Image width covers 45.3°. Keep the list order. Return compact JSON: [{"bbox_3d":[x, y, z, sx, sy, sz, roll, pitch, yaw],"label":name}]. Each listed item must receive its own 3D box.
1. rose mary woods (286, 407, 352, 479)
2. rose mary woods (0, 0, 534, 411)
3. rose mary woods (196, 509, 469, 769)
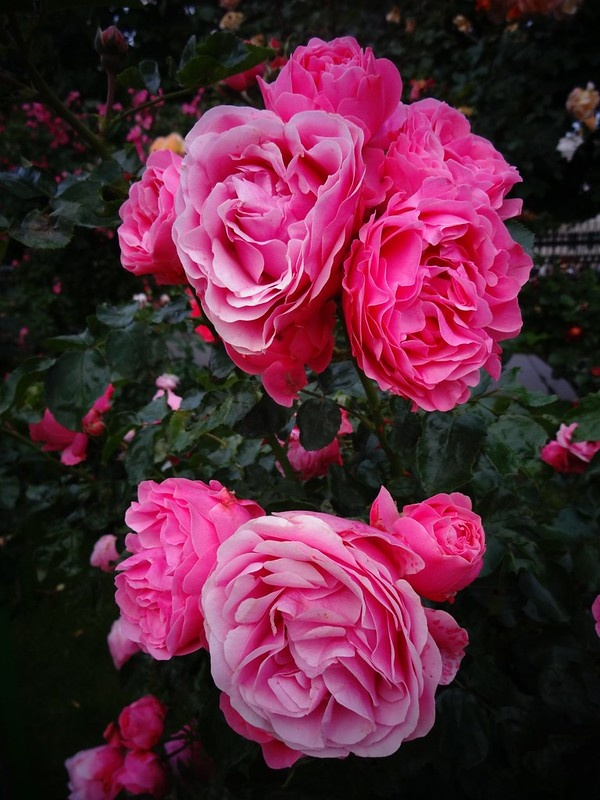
[{"bbox_3d":[0.041,0.063,1.093,0.115,0.065,0.100,-8,67,2],"label":"rose mary woods"},{"bbox_3d":[0.017,-0.197,0.850,0.395,0.234,0.425,-34,60,-3],"label":"rose mary woods"},{"bbox_3d":[0.035,0.228,0.775,0.285,0.169,0.240,-1,93,15],"label":"rose mary woods"}]
